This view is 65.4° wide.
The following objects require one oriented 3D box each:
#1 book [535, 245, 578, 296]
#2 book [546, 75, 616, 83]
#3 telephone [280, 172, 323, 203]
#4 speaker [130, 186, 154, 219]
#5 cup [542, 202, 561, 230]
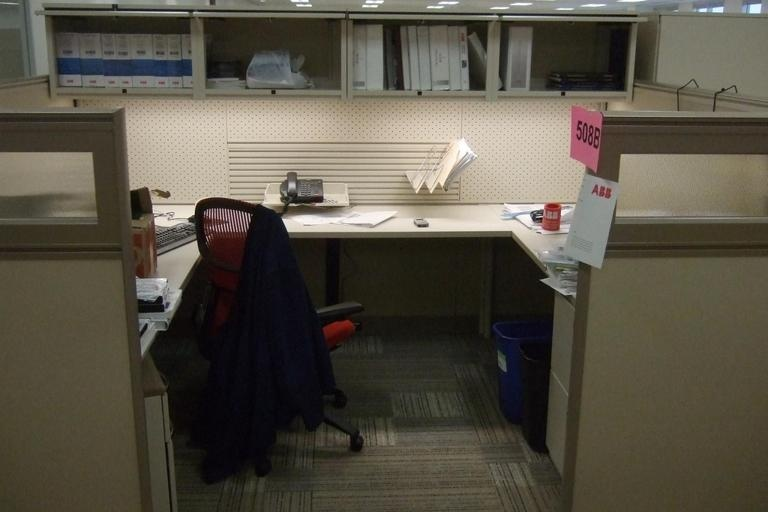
[{"bbox_3d":[0.787,0.066,2.713,0.171,0.074,0.217,1,14,-3],"label":"book"},{"bbox_3d":[1.182,-1.040,3.529,0.333,0.060,0.059,1,2,3],"label":"book"},{"bbox_3d":[-0.486,-0.389,3.556,0.218,0.116,0.192,3,42,-6],"label":"telephone"},{"bbox_3d":[-1.103,-0.236,2.695,0.044,0.159,0.170,-2,4,-19],"label":"speaker"},{"bbox_3d":[0.928,-0.209,3.305,0.099,0.133,0.128,3,18,14],"label":"cup"}]
